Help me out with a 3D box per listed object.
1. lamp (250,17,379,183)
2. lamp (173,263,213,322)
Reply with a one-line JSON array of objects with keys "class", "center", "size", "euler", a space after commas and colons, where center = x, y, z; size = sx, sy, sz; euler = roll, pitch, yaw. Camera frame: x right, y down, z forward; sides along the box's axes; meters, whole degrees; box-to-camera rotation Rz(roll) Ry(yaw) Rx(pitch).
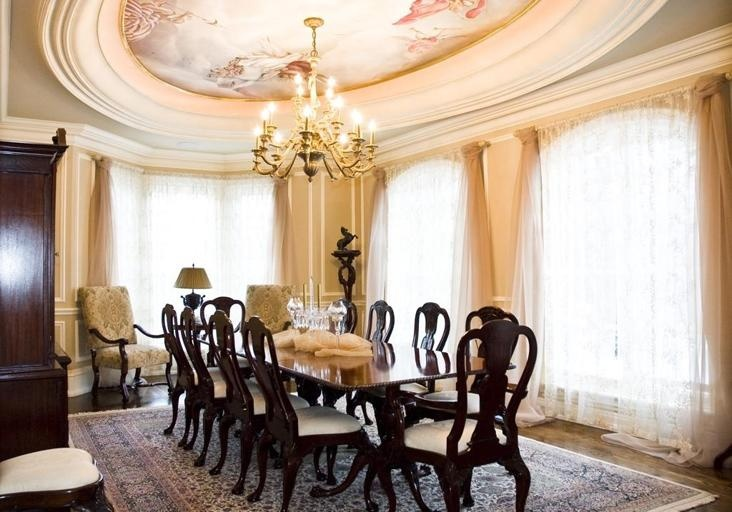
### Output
[{"class": "lamp", "center": [-0.519, -1.572, 5.381], "size": [1.197, 1.607, 1.208], "euler": [0, 2, -36]}, {"class": "lamp", "center": [-2.402, 0.494, 7.569], "size": [0.513, 0.752, 0.499], "euler": [2, 1, -10]}]
